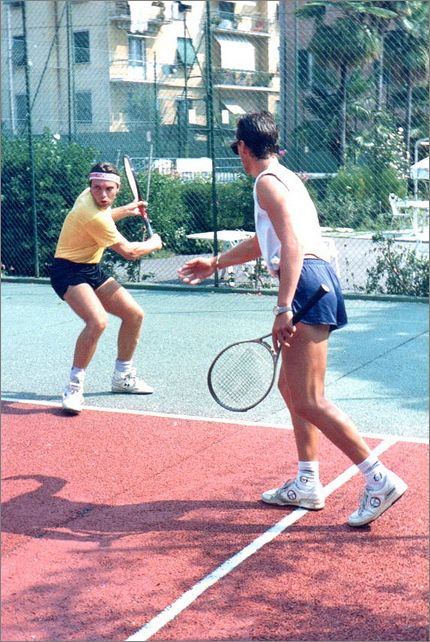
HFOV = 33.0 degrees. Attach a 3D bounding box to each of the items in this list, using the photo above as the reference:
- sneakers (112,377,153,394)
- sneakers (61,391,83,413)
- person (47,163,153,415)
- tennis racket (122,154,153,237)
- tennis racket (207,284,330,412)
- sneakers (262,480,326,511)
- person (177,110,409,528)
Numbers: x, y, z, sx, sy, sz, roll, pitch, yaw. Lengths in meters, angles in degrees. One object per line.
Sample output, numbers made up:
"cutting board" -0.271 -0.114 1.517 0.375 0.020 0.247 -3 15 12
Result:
"sneakers" -0.666 0.500 5.675 0.369 0.145 0.127 1 3 10
"sneakers" -1.014 0.588 5.142 0.145 0.169 0.154 -5 10 -14
"person" -0.913 -0.265 5.390 0.529 1.777 0.900 8 15 44
"tennis racket" -0.714 -1.191 6.363 0.180 0.051 1.198 -2 29 -13
"tennis racket" 0.296 0.183 4.437 0.086 0.403 1.158 -9 -21 -48
"sneakers" 0.394 0.820 3.477 0.334 0.133 0.121 1 5 18
"person" 0.380 -0.018 3.339 0.538 1.848 0.919 -7 11 -22
